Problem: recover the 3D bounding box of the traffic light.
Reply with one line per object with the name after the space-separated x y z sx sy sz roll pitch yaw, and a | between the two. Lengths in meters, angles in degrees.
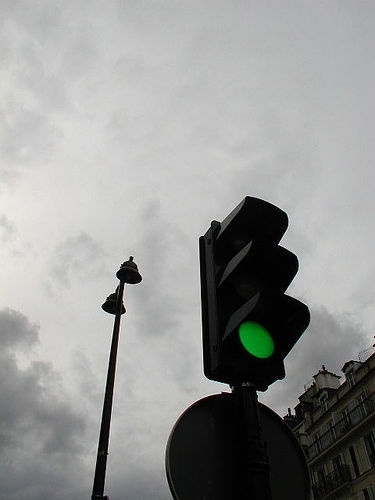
0.280 0.176 2.534 0.513 0.882 0.525 -13 -37 19 | traffic light
